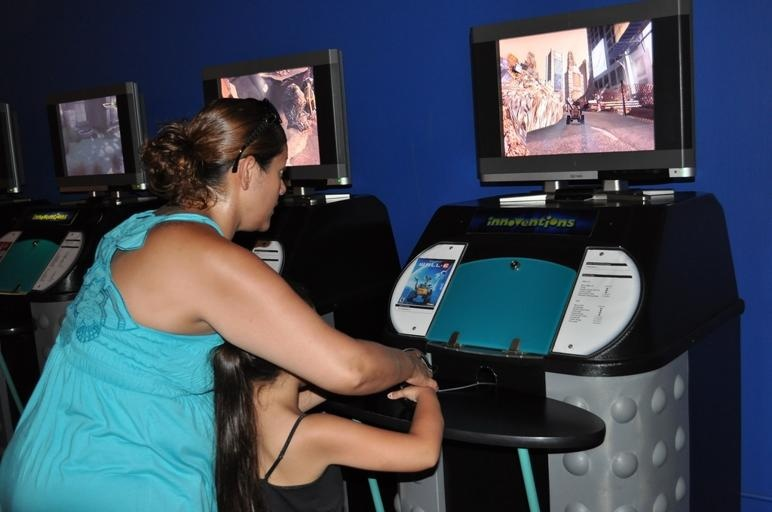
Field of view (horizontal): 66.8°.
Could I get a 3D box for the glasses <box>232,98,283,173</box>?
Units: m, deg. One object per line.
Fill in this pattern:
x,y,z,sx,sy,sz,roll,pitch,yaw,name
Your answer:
-0.327,-0.335,1.608,0.078,0.194,0.154,19,14,-4,glasses
